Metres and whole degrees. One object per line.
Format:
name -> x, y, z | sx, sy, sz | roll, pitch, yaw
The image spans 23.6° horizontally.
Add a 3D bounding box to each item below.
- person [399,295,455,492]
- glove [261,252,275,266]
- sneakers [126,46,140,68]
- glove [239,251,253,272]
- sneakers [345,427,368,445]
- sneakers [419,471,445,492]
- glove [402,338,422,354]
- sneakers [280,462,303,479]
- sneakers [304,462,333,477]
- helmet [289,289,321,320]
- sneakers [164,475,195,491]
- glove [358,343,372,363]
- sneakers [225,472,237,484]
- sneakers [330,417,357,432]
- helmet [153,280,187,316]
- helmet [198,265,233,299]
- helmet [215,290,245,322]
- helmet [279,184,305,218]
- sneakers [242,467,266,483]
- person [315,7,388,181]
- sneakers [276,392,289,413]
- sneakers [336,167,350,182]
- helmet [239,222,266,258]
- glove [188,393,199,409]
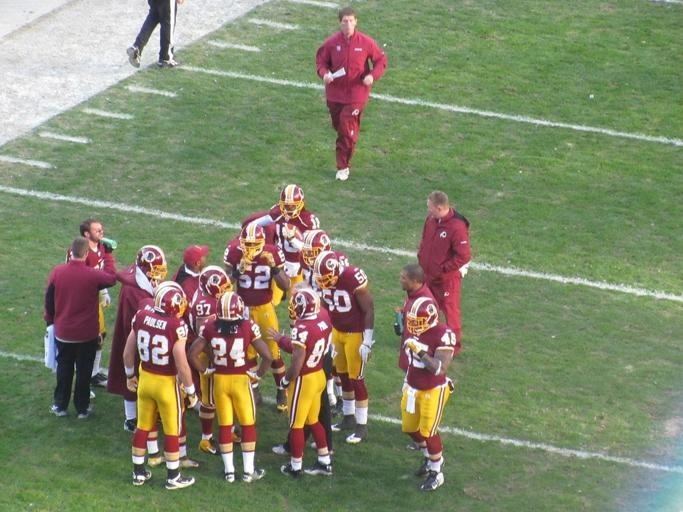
person -> 1.228, 1.954, 23.653 | 0.833, 2.722, 0.583 | 10, 16, 24
glove -> -1.073, 0.028, 24.573 | 0.226, 0.091, 0.170 | 36, 10, -33
sneakers -> -3.864, -3.752, 30.838 | 0.173, 0.463, 0.199 | 17, 56, 13
glove -> -1.399, 0.082, 24.503 | 0.111, 0.278, 0.197 | 10, 5, -24
sneakers -> 0.230, 2.651, 24.351 | 0.179, 0.156, 0.332 | 8, 15, 35
sneakers -> 1.337, 3.230, 23.745 | 0.405, 0.235, 0.195 | -27, 42, -14
glove -> 1.019, 1.280, 23.482 | 0.173, 0.090, 0.224 | 34, -10, -19
sneakers -> -0.726, 3.100, 23.761 | 0.371, 0.165, 0.139 | 19, 21, 40
sneakers -> -0.309, 3.092, 23.888 | 0.464, 0.198, 0.167 | 3, 5, 1
helmet -> -0.508, 0.693, 23.715 | 0.503, 0.454, 0.379 | 5, 6, 32
sneakers -> -2.294, 3.196, 23.508 | 0.474, 0.216, 0.168 | -6, 30, -18
glove -> 0.381, 1.405, 24.259 | 0.199, 0.228, 0.176 | -5, -8, 31
sneakers -> -1.567, 3.156, 23.600 | 0.166, 0.159, 0.141 | -2, 16, -21
sneakers -> 0.062, 2.501, 24.474 | 0.435, 0.294, 0.159 | 2, 4, 8
helmet -> -2.467, 0.609, 23.540 | 0.442, 0.520, 0.615 | 8, 2, 27
helmet -> -1.746, 0.334, 23.817 | 0.550, 0.428, 0.391 | 2, 16, 1
helmet -> -1.589, 0.742, 23.343 | 0.312, 0.332, 0.431 | 1, 44, 15
helmet -> -0.753, -0.902, 25.392 | 0.399, 0.444, 0.564 | -1, 26, 5
sneakers -> -1.232, 3.123, 23.689 | 0.366, 0.155, 0.127 | -17, 29, -35
person -> 0.145, -2.830, 28.651 | 1.084, 2.932, 0.772 | -1, 15, -17
sneakers -> -0.886, 2.175, 24.752 | 0.128, 0.338, 0.159 | 2, 1, -29
sneakers -> 0.029, -1.425, 28.649 | 0.178, 0.163, 0.232 | -3, -14, 9
helmet -> -1.295, -0.261, 24.466 | 0.356, 0.400, 0.486 | 2, 32, 1
glove -> -2.119, 2.071, 23.631 | 0.113, 0.144, 0.328 | -10, -20, -10
